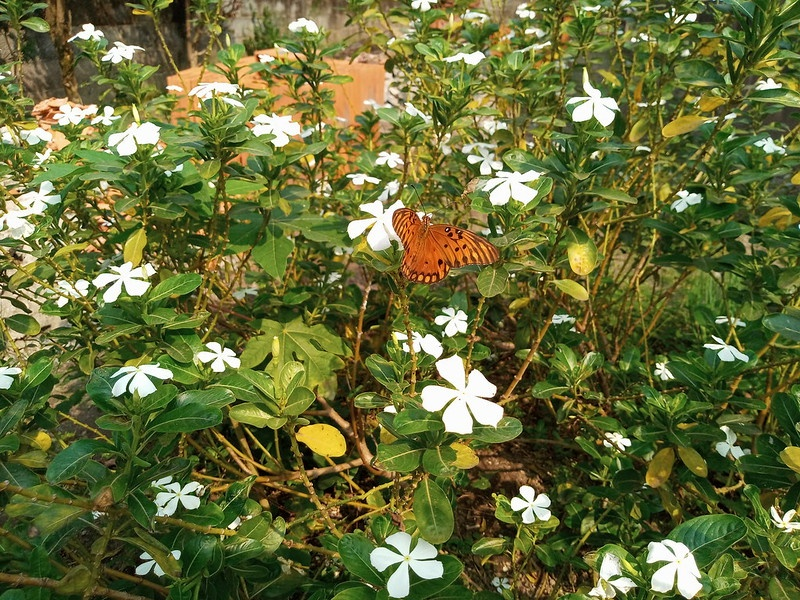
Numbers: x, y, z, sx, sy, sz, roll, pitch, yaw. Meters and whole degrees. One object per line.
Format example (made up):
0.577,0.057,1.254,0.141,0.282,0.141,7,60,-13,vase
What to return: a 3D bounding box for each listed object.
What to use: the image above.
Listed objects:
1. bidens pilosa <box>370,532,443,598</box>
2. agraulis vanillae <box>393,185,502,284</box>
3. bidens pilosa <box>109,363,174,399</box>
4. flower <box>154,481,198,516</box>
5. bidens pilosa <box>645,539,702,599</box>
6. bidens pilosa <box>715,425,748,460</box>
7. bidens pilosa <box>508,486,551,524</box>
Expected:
0.024,0.918,2.565,0.217,0.179,0.189,-24,48,-22,bidens pilosa
0.134,-0.277,3.028,0.538,0.270,0.141,21,17,-14,agraulis vanillae
-0.955,0.310,2.718,0.218,0.120,0.131,-8,44,-8,bidens pilosa
-0.902,0.800,2.970,0.159,0.033,0.156,29,26,11,flower
0.940,0.912,2.512,0.209,0.062,0.195,11,69,-3,bidens pilosa
1.502,0.658,3.358,0.105,0.142,0.145,7,44,8,bidens pilosa
0.530,0.843,3.036,0.158,0.125,0.133,-4,44,-3,bidens pilosa
